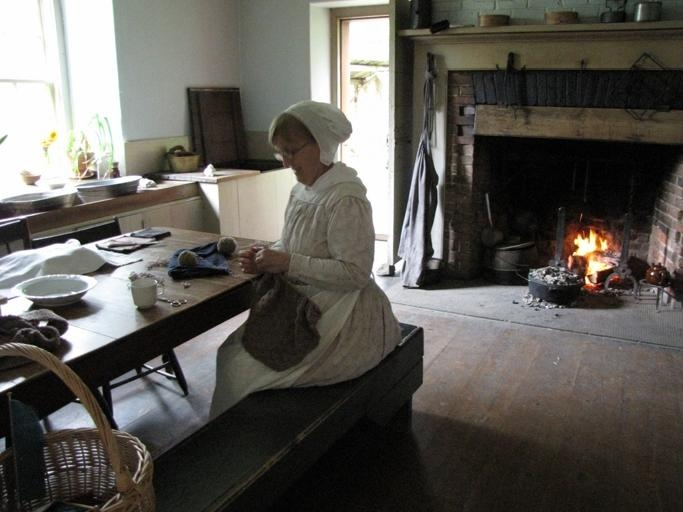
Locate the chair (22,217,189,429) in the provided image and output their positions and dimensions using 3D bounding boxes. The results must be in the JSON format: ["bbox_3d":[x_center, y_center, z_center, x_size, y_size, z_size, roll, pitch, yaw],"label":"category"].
[{"bbox_3d":[-0.992,0.290,2.107,0.550,0.469,0.970,-18,29,-28],"label":"chair"}]

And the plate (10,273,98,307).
[{"bbox_3d":[-1.156,0.143,2.008,0.273,0.057,0.267,5,15,1],"label":"plate"}]

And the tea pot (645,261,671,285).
[{"bbox_3d":[2.570,0.149,4.015,0.167,0.166,0.109,1,14,3],"label":"tea pot"}]

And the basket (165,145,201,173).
[{"bbox_3d":[-1.514,-0.941,4.778,0.269,0.200,0.296,1,11,7],"label":"basket"}]

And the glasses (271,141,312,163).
[{"bbox_3d":[-0.208,-0.448,2.023,0.112,0.049,0.091,-33,8,-35],"label":"glasses"}]

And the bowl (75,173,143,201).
[{"bbox_3d":[-1.778,-0.516,3.795,0.326,0.096,0.316,-7,22,3],"label":"bowl"}]

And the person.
[{"bbox_3d":[-0.181,0.030,2.239,0.970,1.327,0.728,-6,13,-23],"label":"person"}]

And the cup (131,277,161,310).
[{"bbox_3d":[-0.759,0.150,1.946,0.120,0.096,0.089,2,21,-3],"label":"cup"}]
